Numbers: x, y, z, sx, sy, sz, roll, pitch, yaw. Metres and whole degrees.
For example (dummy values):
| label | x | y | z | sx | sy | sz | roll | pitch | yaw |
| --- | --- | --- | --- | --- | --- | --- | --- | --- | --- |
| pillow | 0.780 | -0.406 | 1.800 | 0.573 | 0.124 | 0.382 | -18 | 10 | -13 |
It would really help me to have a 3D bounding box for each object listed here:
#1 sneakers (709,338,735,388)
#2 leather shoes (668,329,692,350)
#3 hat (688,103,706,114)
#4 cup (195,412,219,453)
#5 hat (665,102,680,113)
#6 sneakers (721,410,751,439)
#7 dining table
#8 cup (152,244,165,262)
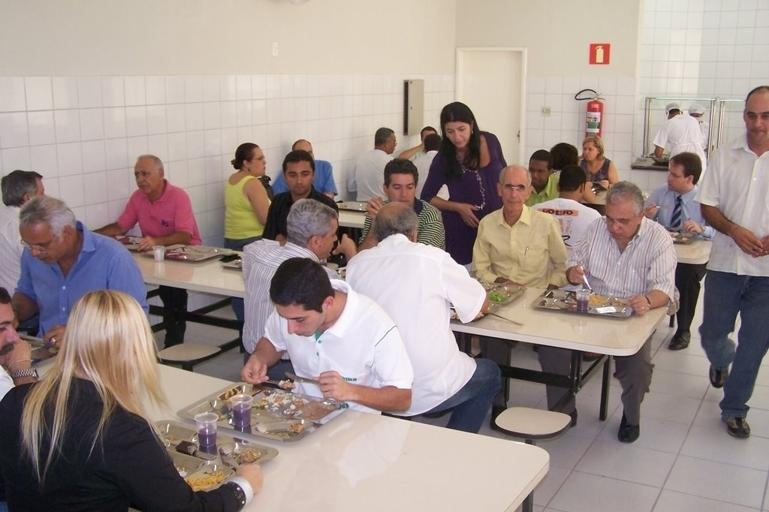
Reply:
| label | x | y | z | sx | sy | sz | roll | pitch | yaw |
| --- | --- | --- | --- | --- | --- | --- | --- | --- | --- |
| sneakers | 2.582 | 0.815 | 4.441 | 0.149 | 0.433 | 0.186 | 7 | 28 | 12 |
| leather shoes | 2.834 | 0.819 | 5.575 | 0.109 | 0.191 | 0.290 | -2 | -1 | 42 |
| hat | 5.140 | -2.406 | 9.584 | 0.253 | 0.127 | 0.327 | 8 | 16 | 22 |
| cup | -0.841 | 0.794 | 2.612 | 0.142 | 0.163 | 0.136 | -3 | -4 | 0 |
| hat | 4.730 | -2.441 | 9.567 | 0.265 | 0.118 | 0.373 | -8 | 6 | 13 |
| sneakers | 2.576 | 1.243 | 4.272 | 0.102 | 0.090 | 0.234 | -9 | 6 | -4 |
| dining table | 0.386 | 0.456 | 3.173 | 2.734 | 1.281 | 1.670 | -15 | 21 | -38 |
| cup | -1.916 | -0.011 | 4.940 | 0.126 | 0.119 | 0.100 | 3 | 6 | 34 |
